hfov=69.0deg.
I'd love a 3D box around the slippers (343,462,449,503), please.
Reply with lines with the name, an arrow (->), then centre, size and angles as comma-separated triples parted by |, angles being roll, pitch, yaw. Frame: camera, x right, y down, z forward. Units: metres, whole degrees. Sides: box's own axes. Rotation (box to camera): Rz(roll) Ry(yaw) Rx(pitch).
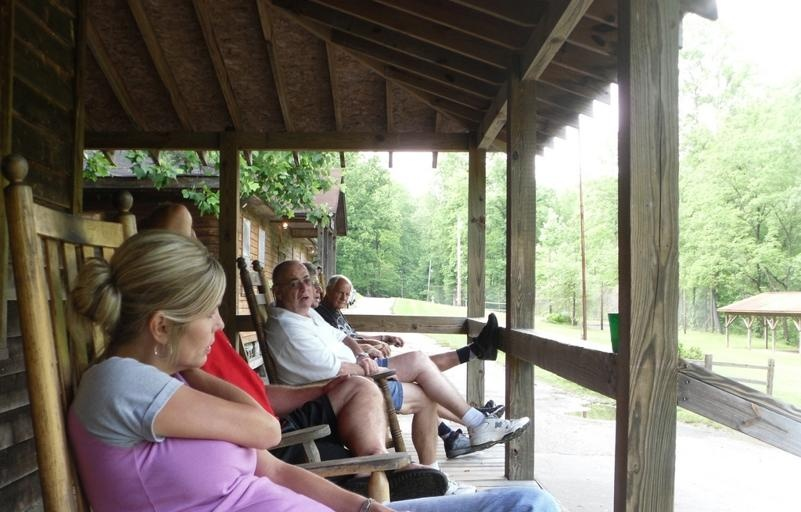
slippers -> -0.036, 1.101, 2.947 | 0.562, 0.203, 0.231 | 2, 12, 1

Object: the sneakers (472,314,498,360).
sneakers -> 0.677, 0.665, 4.706 | 0.183, 0.442, 0.148 | -1, 17, -24

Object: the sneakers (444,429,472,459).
sneakers -> 0.463, 1.357, 4.224 | 0.252, 0.150, 0.114 | 3, -13, -43

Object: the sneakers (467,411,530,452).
sneakers -> 0.618, 1.160, 3.906 | 0.436, 0.207, 0.173 | -21, -13, -8

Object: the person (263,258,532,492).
person -> -0.235, 0.755, 4.334 | 2.311, 1.555, 0.940 | 9, -4, -5
